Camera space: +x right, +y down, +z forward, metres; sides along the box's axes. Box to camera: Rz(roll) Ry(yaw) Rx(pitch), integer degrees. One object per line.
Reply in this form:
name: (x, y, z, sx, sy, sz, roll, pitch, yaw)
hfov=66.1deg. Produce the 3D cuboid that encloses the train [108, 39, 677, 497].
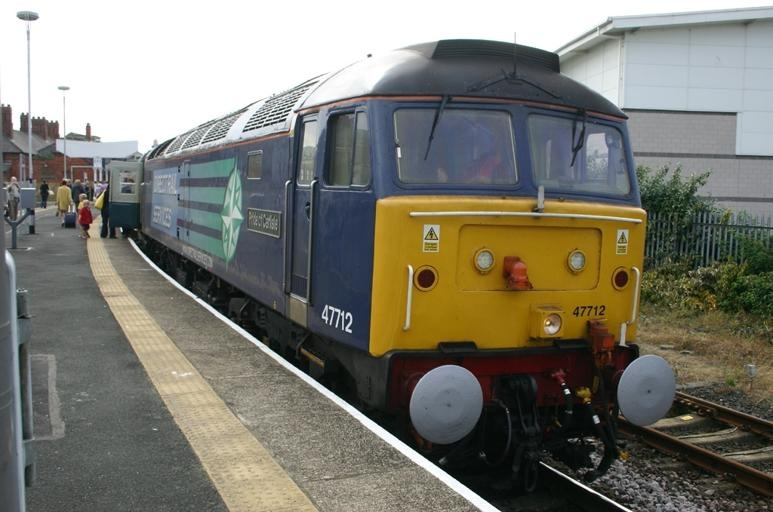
train: (0.106, -0.066, 7.465, 6.346, 4.919, 2.774, 9, 14, 39)

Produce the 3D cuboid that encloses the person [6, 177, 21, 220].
person: (-14.407, -2.245, 23.059, 0.419, 1.716, 2.188, -7, 13, -32)
